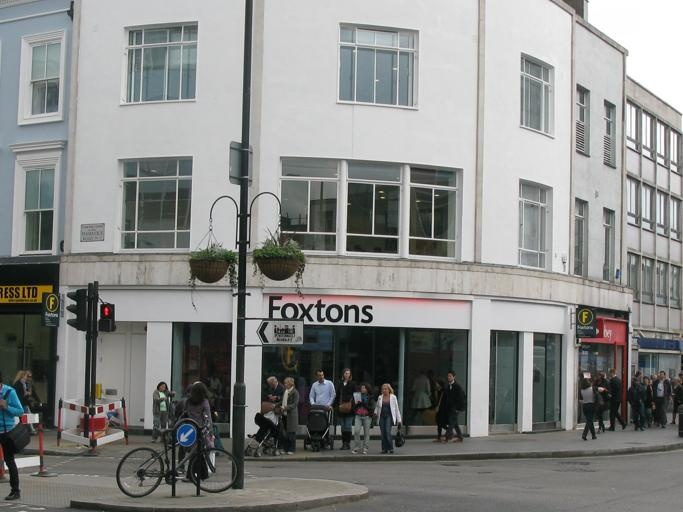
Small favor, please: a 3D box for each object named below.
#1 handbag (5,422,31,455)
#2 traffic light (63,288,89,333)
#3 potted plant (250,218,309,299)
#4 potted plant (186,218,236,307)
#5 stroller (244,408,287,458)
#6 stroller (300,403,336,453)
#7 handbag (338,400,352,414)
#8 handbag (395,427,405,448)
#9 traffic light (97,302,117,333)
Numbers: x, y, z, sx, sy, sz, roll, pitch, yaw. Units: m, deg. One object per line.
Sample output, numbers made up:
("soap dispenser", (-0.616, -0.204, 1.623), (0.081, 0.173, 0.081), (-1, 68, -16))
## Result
("handbag", (-7.719, 4.327, 26.520), (0.300, 0.680, 0.598), (-4, -11, 24))
("traffic light", (-7.835, 1.533, 32.762), (0.606, 1.240, 1.061), (3, -10, -15))
("potted plant", (-1.832, 0.080, 32.587), (1.389, 1.864, 1.459), (-2, -8, 10))
("potted plant", (-3.924, 0.272, 33.024), (1.202, 3.171, 1.017), (2, -7, -26))
("stroller", (-2.261, 5.223, 32.908), (0.981, 1.367, 1.129), (5, -2, -28))
("stroller", (-0.701, 5.276, 33.681), (0.584, 1.848, 0.644), (0, -4, 2))
("handbag", (0.113, 4.683, 34.256), (0.288, 0.342, 0.423), (2, -3, -1))
("handbag", (1.831, 5.725, 34.837), (0.227, 0.678, 0.667), (-4, -6, 8))
("traffic light", (-7.038, 1.779, 33.021), (0.459, 0.879, 0.842), (3, -10, -13))
